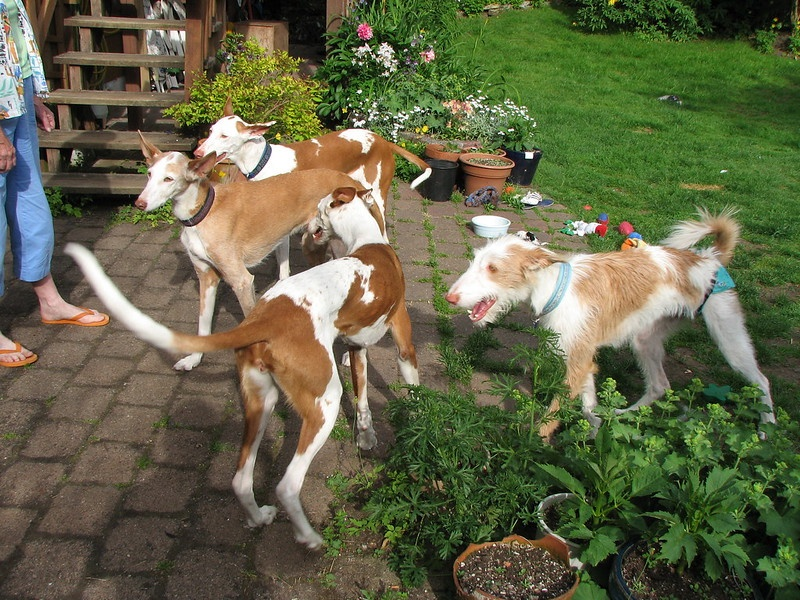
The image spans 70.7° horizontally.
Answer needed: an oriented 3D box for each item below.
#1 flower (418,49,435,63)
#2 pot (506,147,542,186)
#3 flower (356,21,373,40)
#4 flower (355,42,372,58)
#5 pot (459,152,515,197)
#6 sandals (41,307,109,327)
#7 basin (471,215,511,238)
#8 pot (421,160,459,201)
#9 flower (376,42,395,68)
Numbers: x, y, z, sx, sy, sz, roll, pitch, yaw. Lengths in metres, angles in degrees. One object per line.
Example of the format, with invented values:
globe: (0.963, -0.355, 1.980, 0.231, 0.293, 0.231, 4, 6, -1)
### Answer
flower: (0.521, -4.506, 10.400, 0.283, 0.224, 0.319, 8, 30, 0)
pot: (1.965, -2.081, 8.798, 0.568, 0.435, 0.563, -1, 16, 0)
flower: (-0.584, -4.592, 9.717, 0.284, 0.287, 0.289, 5, 46, 7)
flower: (-0.611, -4.258, 9.657, 0.273, 0.149, 0.265, -10, 28, 29)
pot: (1.253, -1.905, 8.306, 0.677, 0.454, 0.685, 2, 23, -1)
sandals: (-2.893, 0.169, 5.050, 0.447, 0.074, 0.206, -2, 23, -9)
basin: (1.166, -0.946, 7.167, 0.436, 0.173, 0.439, -2, 23, 1)
pot: (0.511, -1.712, 8.129, 0.566, 0.429, 0.546, 3, 16, -1)
flower: (-0.224, -4.171, 9.613, 0.205, 0.448, 0.432, 0, -3, 0)
